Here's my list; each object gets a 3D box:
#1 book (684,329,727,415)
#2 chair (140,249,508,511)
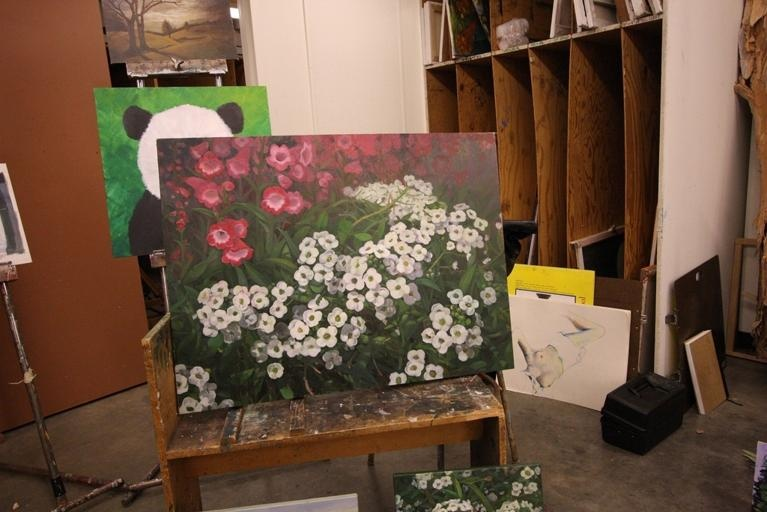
[{"bbox_3d":[2.192,0.811,3.918,0.445,0.600,0.064,-15,1,-39],"label":"book"},{"bbox_3d":[-0.367,0.407,3.026,1.823,1.241,1.184,-4,25,-9],"label":"chair"}]
